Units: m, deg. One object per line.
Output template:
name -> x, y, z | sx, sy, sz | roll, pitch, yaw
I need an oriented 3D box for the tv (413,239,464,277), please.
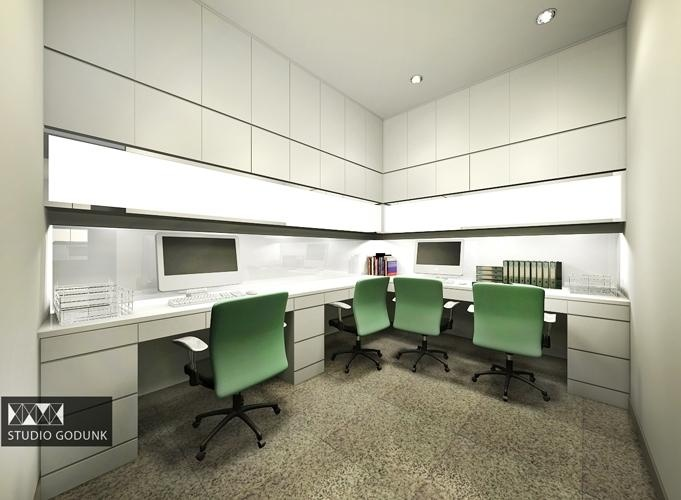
tv -> 1.303, 0.087, 5.859 | 0.448, 0.341, 0.099 | -2, -7, 42

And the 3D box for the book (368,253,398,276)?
book -> 0.652, 0.203, 6.834 | 0.415, 0.437, 0.314 | 1, 2, -21
